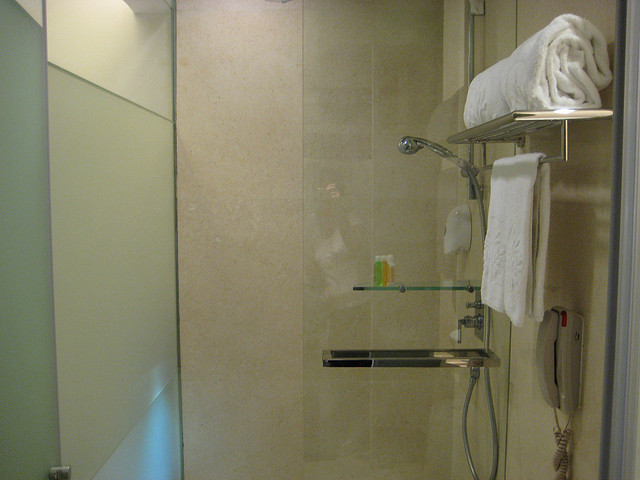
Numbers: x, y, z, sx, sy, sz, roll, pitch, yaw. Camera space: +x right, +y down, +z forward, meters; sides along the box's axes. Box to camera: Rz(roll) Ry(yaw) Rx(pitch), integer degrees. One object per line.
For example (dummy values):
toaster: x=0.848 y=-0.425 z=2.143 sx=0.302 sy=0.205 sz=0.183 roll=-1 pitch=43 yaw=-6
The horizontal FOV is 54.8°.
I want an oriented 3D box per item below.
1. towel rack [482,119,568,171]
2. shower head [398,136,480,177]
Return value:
towel rack: x=0.643 y=-0.309 z=2.010 sx=0.015 sy=0.456 sz=0.127 roll=-7 pitch=-83 yaw=-18
shower head: x=0.451 y=-0.308 z=2.291 sx=0.309 sy=0.061 sz=0.125 roll=9 pitch=-72 yaw=12
